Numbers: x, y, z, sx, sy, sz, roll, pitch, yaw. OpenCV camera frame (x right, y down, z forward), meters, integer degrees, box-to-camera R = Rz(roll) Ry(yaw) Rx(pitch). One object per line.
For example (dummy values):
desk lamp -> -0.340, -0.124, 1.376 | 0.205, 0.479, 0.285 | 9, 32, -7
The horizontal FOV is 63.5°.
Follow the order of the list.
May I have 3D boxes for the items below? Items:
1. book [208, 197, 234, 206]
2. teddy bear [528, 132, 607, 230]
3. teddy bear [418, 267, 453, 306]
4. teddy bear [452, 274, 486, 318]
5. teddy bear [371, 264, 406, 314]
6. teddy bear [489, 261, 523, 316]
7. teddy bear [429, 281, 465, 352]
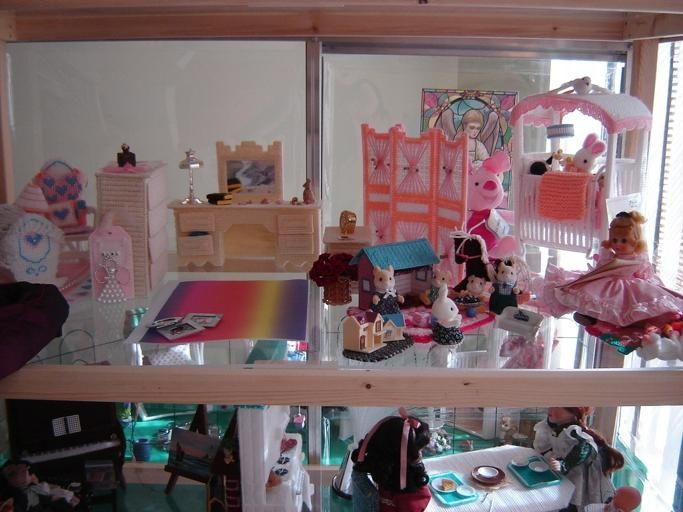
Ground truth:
book -> -0.481, -0.218, 2.236 | 0.077, 0.032, 0.044 | -4, 7, -22
teddy bear -> 0.977, -0.312, 2.388 | 0.367, 0.385, 0.392 | 0, 8, 5
teddy bear -> 0.313, 0.109, 1.847 | 0.081, 0.116, 0.081 | 11, 13, -7
teddy bear -> 0.458, 0.128, 1.887 | 0.142, 0.109, 0.203 | 5, 17, 21
teddy bear -> 0.150, 0.114, 1.810 | 0.096, 0.159, 0.249 | 0, 7, 12
teddy bear -> 0.548, 0.109, 1.846 | 0.096, 0.170, 0.103 | 1, 7, 18
teddy bear -> 0.329, 0.190, 1.699 | 0.096, 0.170, 0.088 | 0, 7, 11
